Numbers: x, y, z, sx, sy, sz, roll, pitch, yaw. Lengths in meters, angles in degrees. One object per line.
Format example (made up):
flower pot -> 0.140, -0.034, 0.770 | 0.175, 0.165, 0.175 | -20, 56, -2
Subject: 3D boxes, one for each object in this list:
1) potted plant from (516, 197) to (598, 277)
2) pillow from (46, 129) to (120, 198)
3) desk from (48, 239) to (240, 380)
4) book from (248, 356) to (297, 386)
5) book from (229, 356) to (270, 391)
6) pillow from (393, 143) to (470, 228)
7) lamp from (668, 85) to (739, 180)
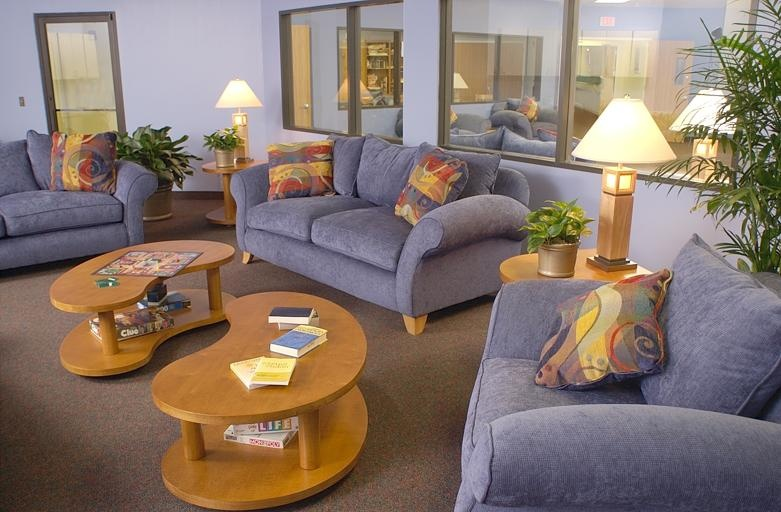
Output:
potted plant -> 0.957, -0.155, 3.414 | 0.475, 0.439, 0.458 | -1, 16, 5
pillow -> -2.790, -0.820, 5.265 | 0.700, 0.670, 0.248 | 0, -8, -3
desk -> -1.732, 0.362, 3.759 | 0.875, 0.426, 1.364 | 19, 26, 32
book -> -0.551, 0.547, 2.722 | 0.179, 0.067, 0.170 | -1, 17, -1
book -> -0.680, 0.553, 2.728 | 0.135, 0.028, 0.141 | -11, 19, -36
pillow -> 0.313, -0.539, 4.285 | 0.182, 0.550, 0.597 | 21, -4, -40
lamp -> 1.915, -0.735, 3.592 | 0.348, 0.602, 0.951 | 8, 20, 24
